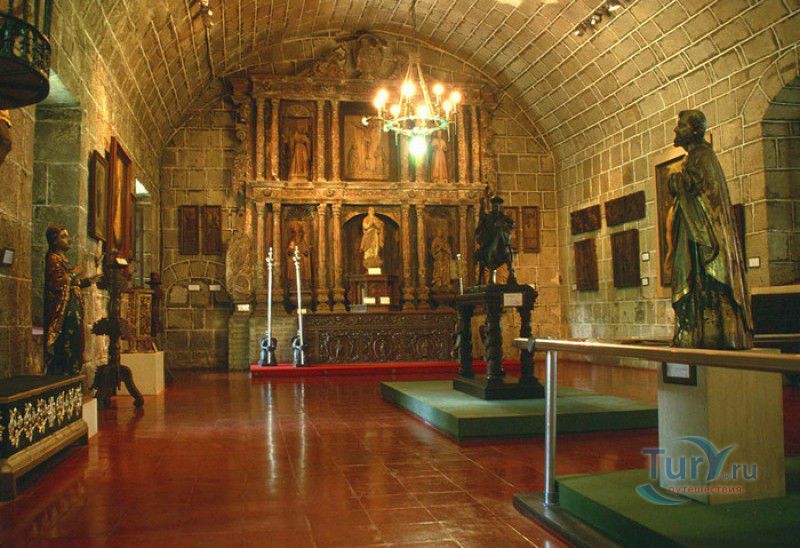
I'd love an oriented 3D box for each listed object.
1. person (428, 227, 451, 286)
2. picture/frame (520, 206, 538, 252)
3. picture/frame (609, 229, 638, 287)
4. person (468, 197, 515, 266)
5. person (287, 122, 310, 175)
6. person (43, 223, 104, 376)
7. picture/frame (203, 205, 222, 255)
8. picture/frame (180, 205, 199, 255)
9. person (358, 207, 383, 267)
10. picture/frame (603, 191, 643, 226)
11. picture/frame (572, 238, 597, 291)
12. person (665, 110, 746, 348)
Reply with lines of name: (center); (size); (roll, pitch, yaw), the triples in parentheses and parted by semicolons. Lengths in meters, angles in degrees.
person: (1.010, -0.411, 17.604); (0.560, 1.543, 0.673); (-2, 3, 2)
picture/frame: (3.483, -1.273, 18.435); (0.526, 1.192, 0.140); (-1, -4, -10)
picture/frame: (5.118, -0.386, 15.464); (0.148, 1.275, 0.918); (2, -7, -21)
person: (1.301, -0.598, 9.614); (0.545, 1.046, 0.941); (-2, 3, 7)
person: (-2.584, -3.127, 17.245); (0.442, 1.430, 0.538); (-1, 3, 20)
person: (-4.109, 0.307, 8.258); (0.462, 1.783, 0.248); (-4, 3, -29)
picture/frame: (-4.749, -1.145, 17.129); (0.493, 1.220, 0.062); (-1, -1, -30)
picture/frame: (-5.298, -1.114, 17.031); (0.537, 1.235, 0.063); (0, 1, 11)
person: (-0.757, -0.911, 17.028); (0.532, 1.607, 0.677); (-2, 3, 9)
picture/frame: (5.083, -1.488, 15.500); (0.141, 0.612, 1.229); (-1, -6, -23)
picture/frame: (4.618, -0.257, 17.022); (0.062, 1.251, 0.926); (-1, -5, -19)
person: (2.386, -0.379, 5.286); (0.593, 1.863, 0.503); (-1, 3, 25)
